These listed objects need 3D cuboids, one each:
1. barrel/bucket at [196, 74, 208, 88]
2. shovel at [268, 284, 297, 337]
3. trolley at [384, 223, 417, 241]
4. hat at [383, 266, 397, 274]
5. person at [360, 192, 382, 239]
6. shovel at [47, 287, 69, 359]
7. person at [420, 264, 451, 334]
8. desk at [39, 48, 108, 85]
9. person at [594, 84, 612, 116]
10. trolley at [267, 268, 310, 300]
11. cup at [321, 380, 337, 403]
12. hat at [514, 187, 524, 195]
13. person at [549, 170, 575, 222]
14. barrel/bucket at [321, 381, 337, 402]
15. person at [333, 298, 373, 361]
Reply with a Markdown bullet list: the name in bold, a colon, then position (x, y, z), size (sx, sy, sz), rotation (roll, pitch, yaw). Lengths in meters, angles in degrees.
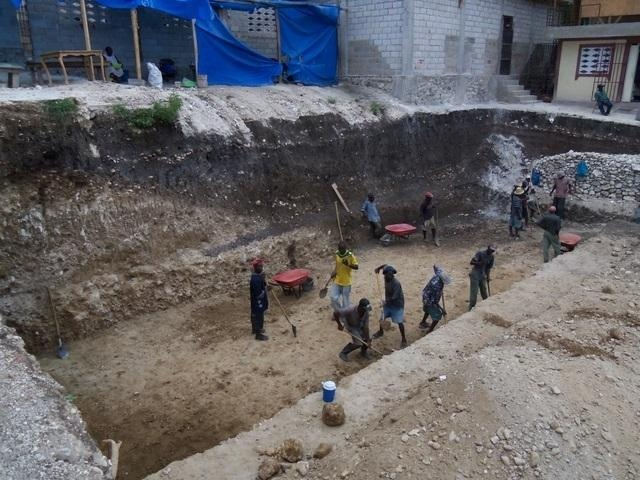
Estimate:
- **barrel/bucket**: position (-4.425, -6.027, 18.435), size (0.435, 0.473, 0.388), rotation (-9, 21, -19)
- **shovel**: position (-0.997, 1.894, 12.871), size (0.291, 1.241, 0.320), rotation (-21, 14, 33)
- **trolley**: position (2.764, -0.234, 16.936), size (0.954, 0.586, 0.956), rotation (-1, 19, 3)
- **hat**: position (1.608, 0.678, 11.287), size (0.285, 0.193, 0.325), rotation (-3, 19, -4)
- **person**: position (1.830, -0.935, 17.059), size (0.679, 1.640, 1.301), rotation (0, 20, 7)
- **shovel**: position (-6.300, 1.961, 11.592), size (0.237, 1.384, 1.254), rotation (-15, 24, -30)
- **person**: position (2.835, 1.365, 12.073), size (0.644, 1.714, 1.361), rotation (3, 21, 15)
- **desk**: position (-9.012, -6.398, 17.853), size (1.958, 1.261, 6.256), rotation (-11, 21, -25)
- **person**: position (12.365, -6.172, 21.329), size (0.698, 1.188, 2.820), rotation (9, 22, 27)
- **trolley**: position (-0.758, 1.225, 13.551), size (0.900, 0.468, 0.774), rotation (-20, 28, -38)
- **cup**: position (0.171, 2.917, 9.503), size (0.370, 0.346, 0.355), rotation (1, 16, 0)
- **hat**: position (6.805, -1.691, 16.589), size (0.402, 0.212, 0.279), rotation (-4, 20, -7)
- **person**: position (8.561, -1.615, 17.419), size (0.652, 1.618, 1.363), rotation (8, 22, 25)
- **barrel/bucket**: position (0.149, 2.908, 9.492), size (0.364, 0.342, 0.349), rotation (1, 15, 0)
- **person**: position (0.762, 1.987, 11.210), size (0.920, 1.531, 0.790), rotation (5, 13, 4)
